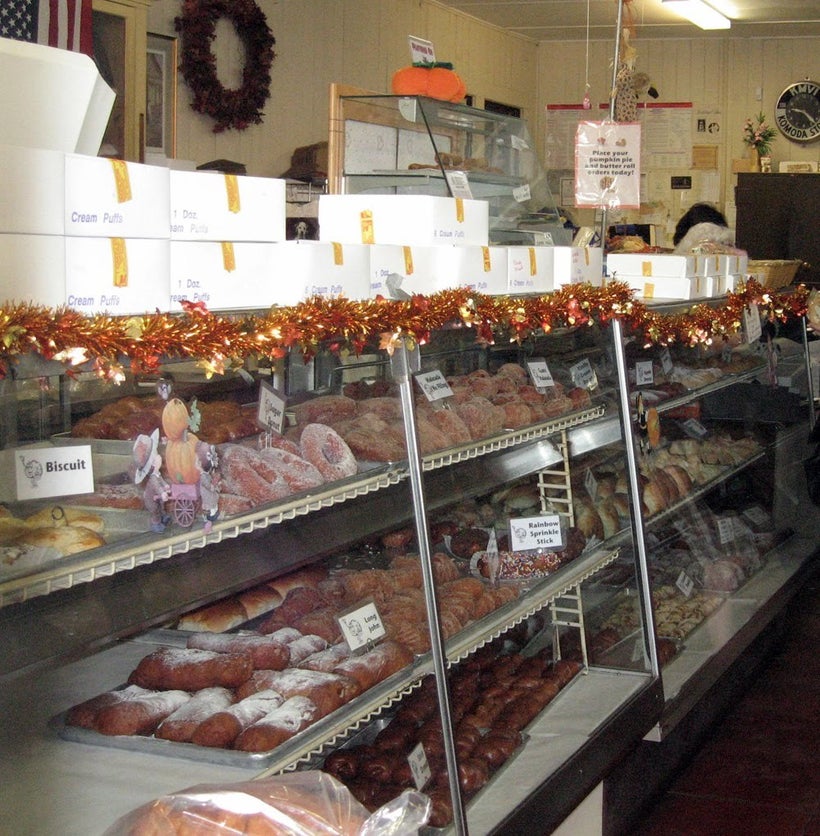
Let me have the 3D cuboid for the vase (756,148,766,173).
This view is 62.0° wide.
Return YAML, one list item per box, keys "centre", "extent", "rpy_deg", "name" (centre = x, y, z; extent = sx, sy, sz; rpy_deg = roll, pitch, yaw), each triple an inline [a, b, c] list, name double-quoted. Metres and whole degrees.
- centre: [4.409, -3.197, 8.556]
  extent: [0.118, 0.250, 0.396]
  rpy_deg: [1, 11, 27]
  name: "vase"
